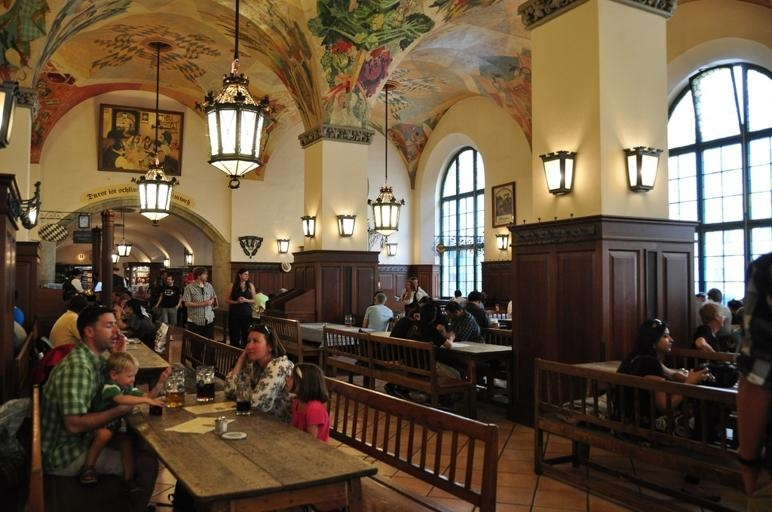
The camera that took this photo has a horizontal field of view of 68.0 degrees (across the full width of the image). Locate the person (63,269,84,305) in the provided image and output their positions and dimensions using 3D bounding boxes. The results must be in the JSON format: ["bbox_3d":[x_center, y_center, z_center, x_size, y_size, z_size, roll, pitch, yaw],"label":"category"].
[{"bbox_3d":[-7.026,0.678,12.853,0.415,1.059,0.344,11,12,39],"label":"person"}]

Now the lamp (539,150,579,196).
[{"bbox_3d":[2.314,-1.082,7.595,0.232,0.598,0.398,-1,0,-40],"label":"lamp"}]

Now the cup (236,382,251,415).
[{"bbox_3d":[-1.279,1.284,5.132,0.144,0.227,0.146,-1,-11,0],"label":"cup"}]

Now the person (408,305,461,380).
[{"bbox_3d":[0.745,1.312,8.385,0.678,1.221,0.512,-10,12,-26],"label":"person"}]

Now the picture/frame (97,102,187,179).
[{"bbox_3d":[-6.629,-3.121,15.250,2.825,2.354,0.272,-4,12,-24],"label":"picture/frame"}]

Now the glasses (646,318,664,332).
[{"bbox_3d":[2.839,0.738,6.011,0.155,0.140,0.128,-21,11,-12],"label":"glasses"}]

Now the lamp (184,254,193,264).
[{"bbox_3d":[-7.438,0.099,21.576,0.313,0.585,0.313,1,-7,-15],"label":"lamp"}]

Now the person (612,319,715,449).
[{"bbox_3d":[2.711,1.281,5.752,1.191,1.260,0.964,-1,-8,12],"label":"person"}]

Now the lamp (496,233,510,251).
[{"bbox_3d":[3.210,-0.372,15.600,0.398,0.449,0.428,-2,-4,17],"label":"lamp"}]

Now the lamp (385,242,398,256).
[{"bbox_3d":[0.175,-0.191,18.877,0.456,0.449,0.393,0,-2,-21],"label":"lamp"}]

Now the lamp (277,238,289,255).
[{"bbox_3d":[-3.154,-0.268,17.688,0.484,0.564,0.412,2,-4,-35],"label":"lamp"}]

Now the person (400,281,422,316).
[{"bbox_3d":[0.608,1.122,13.226,0.483,1.193,0.408,4,4,28],"label":"person"}]

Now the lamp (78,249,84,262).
[{"bbox_3d":[-18.440,0.085,34.586,0.361,0.430,0.364,-1,0,-30],"label":"lamp"}]

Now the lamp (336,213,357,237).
[{"bbox_3d":[-0.818,-0.581,11.980,0.505,0.552,0.419,2,-6,-27],"label":"lamp"}]

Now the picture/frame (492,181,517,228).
[{"bbox_3d":[3.267,-1.381,15.784,0.195,1.232,1.031,-1,0,-22],"label":"picture/frame"}]

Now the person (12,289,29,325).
[{"bbox_3d":[-5.278,0.764,8.251,0.117,0.407,0.901,-1,0,-31],"label":"person"}]
